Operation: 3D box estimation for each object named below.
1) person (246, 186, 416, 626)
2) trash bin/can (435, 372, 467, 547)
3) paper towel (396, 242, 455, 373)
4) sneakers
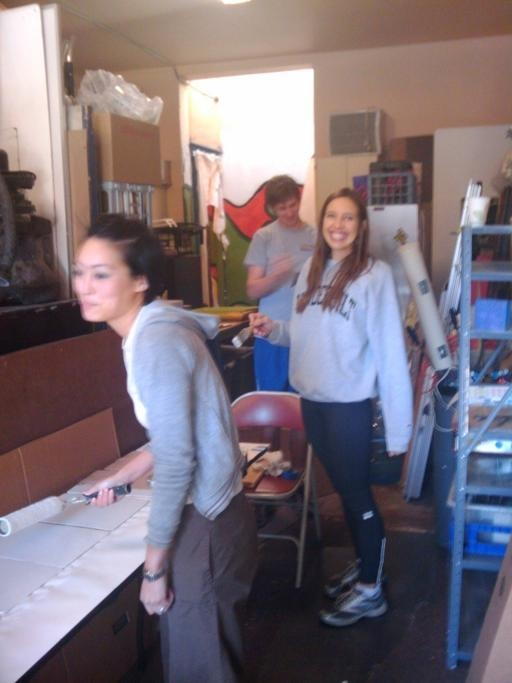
[{"bbox_3d":[0.345,0.165,2.180,0.339,1.535,0.521,-3,8,-19],"label":"person"},{"bbox_3d":[1.001,0.629,2.776,0.131,0.817,0.133,-1,-16,24],"label":"trash bin/can"},{"bbox_3d":[0.739,-0.127,2.406,0.102,0.597,0.103,-27,14,-41],"label":"paper towel"},{"bbox_3d":[0.390,1.031,2.257,0.185,0.130,0.229,-5,1,6],"label":"sneakers"}]
